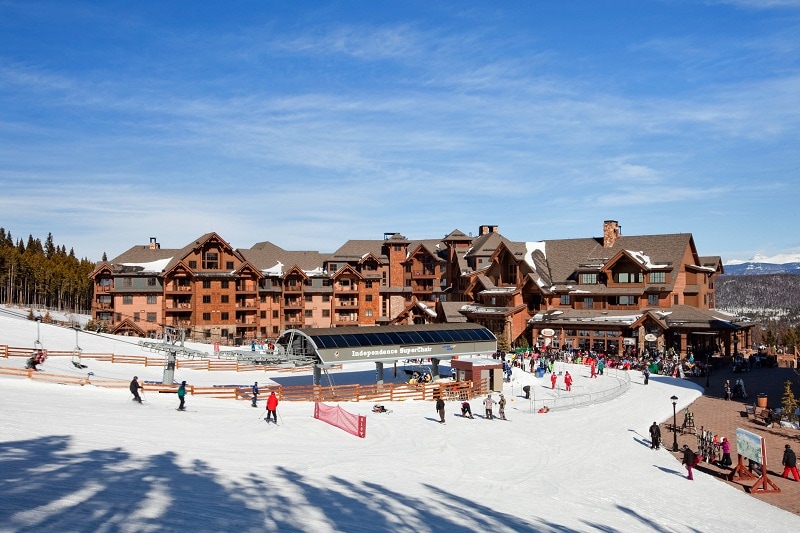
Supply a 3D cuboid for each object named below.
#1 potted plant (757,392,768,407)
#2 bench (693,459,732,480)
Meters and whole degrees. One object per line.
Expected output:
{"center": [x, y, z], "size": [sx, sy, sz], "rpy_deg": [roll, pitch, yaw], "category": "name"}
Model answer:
{"center": [30.129, 11.135, 62.067], "size": [1.005, 1.426, 1.078], "rpy_deg": [-2, 0, 32], "category": "potted plant"}
{"center": [21.116, 13.725, 50.170], "size": [1.322, 0.297, 1.402], "rpy_deg": [1, 3, -34], "category": "bench"}
